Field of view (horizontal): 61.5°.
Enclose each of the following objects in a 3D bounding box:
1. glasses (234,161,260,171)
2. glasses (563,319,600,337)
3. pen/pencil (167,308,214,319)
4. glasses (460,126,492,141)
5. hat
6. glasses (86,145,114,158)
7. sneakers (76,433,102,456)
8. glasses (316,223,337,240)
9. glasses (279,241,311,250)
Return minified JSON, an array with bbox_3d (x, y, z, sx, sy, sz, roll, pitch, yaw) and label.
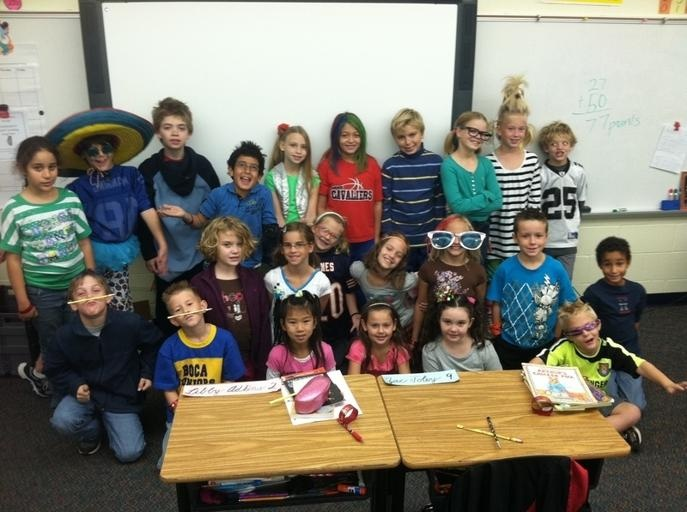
[{"bbox_3d":[-0.586,-0.551,3.506,0.130,0.067,0.041,-6,22,-15],"label":"glasses"},{"bbox_3d":[1.143,0.353,2.763,0.143,0.099,0.076,7,23,17],"label":"glasses"},{"bbox_3d":[-0.767,0.286,2.890,0.233,0.024,0.027,-11,21,-2],"label":"pen/pencil"},{"bbox_3d":[0.850,-0.788,3.707,0.193,0.091,0.064,1,22,2],"label":"glasses"},{"bbox_3d":[-1.426,-0.671,3.448,0.574,0.425,0.308,-6,22,-16],"label":"hat"},{"bbox_3d":[-1.428,-0.613,3.374,0.138,0.060,0.028,-8,23,-21],"label":"glasses"},{"bbox_3d":[-1.380,0.999,3.111,0.120,0.117,0.105,-10,24,-25],"label":"sneakers"},{"bbox_3d":[-0.105,-0.148,3.423,0.139,0.096,0.041,2,22,4],"label":"glasses"},{"bbox_3d":[-0.264,-0.063,3.136,0.142,0.046,0.052,1,21,1],"label":"glasses"}]
